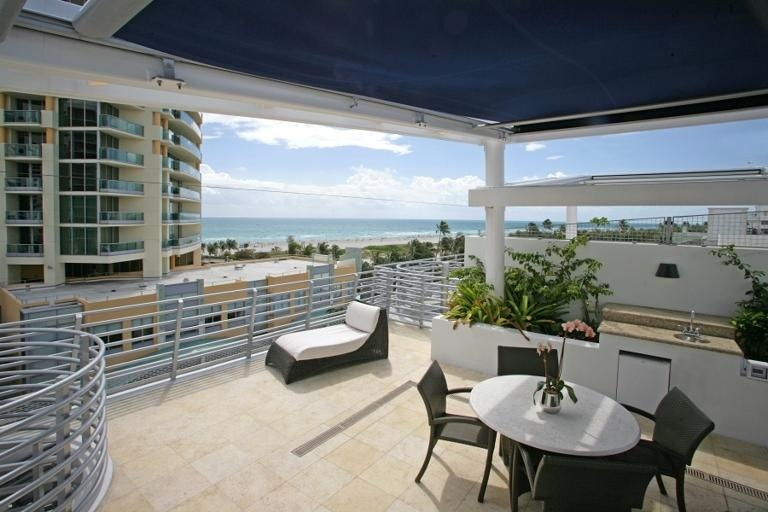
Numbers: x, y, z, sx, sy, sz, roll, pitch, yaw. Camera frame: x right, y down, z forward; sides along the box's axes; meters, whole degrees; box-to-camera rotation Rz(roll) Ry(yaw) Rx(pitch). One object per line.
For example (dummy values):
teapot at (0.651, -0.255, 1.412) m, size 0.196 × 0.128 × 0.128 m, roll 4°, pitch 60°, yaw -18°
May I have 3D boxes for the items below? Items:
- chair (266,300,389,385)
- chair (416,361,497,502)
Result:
chair at (-0.913, 1.399, 7.045) m, size 2.069 × 0.918 × 1.038 m, roll -3°, pitch 5°, yaw -29°
chair at (0.795, 1.908, 4.589) m, size 0.845 × 1.355 × 0.767 m, roll 0°, pitch 4°, yaw 9°
